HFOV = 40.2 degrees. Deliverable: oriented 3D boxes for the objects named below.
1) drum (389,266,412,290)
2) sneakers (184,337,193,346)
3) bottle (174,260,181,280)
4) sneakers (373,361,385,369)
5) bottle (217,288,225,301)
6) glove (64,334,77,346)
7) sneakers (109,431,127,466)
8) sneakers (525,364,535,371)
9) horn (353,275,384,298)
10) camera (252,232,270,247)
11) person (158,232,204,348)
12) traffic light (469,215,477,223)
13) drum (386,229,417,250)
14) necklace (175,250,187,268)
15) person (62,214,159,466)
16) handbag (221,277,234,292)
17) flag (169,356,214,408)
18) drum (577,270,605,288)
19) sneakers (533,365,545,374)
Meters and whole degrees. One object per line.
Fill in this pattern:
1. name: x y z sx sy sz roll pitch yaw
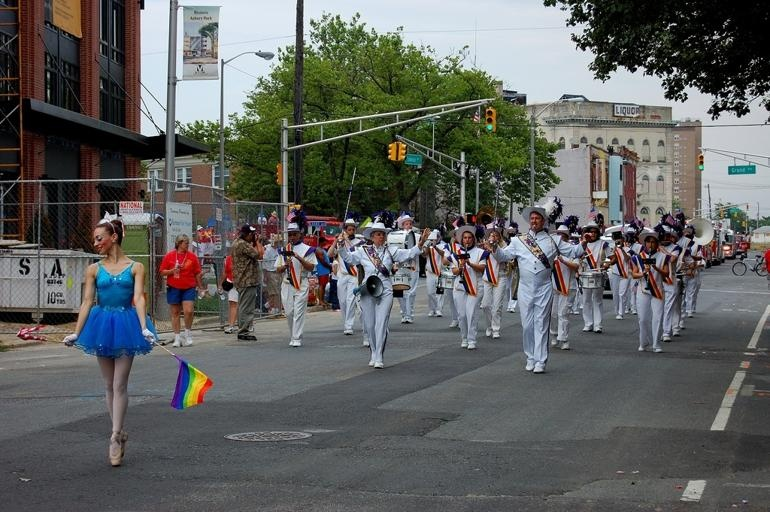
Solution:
1. drum: 0.413 0.461 22.015 0.508 0.453 0.523 1 -9 0
2. sneakers: -4.236 1.917 23.689 0.219 0.143 0.388 -1 -2 -7
3. bottle: -4.364 0.299 23.055 0.130 0.379 0.169 0 1 -17
4. sneakers: -0.043 2.126 20.613 0.173 0.188 0.486 1 1 5
5. bottle: -3.918 0.981 26.611 0.098 0.258 0.203 -6 12 -9
6. glove: -4.320 1.218 15.016 0.207 0.103 0.259 -2 4 -10
7. sneakers: -3.615 2.677 14.752 0.196 0.502 0.207 0 -4 -1
8. sneakers: 2.810 2.140 20.221 0.128 0.109 0.281 0 -7 5
9. horn: -0.191 0.633 20.980 0.589 0.354 0.370 -8 36 44
10. camera: -3.101 -0.416 28.094 0.335 0.407 0.152 6 8 33
11. person: -4.381 0.762 23.642 0.849 2.457 1.331 0 1 -10
12. traffic light: 3.750 -1.562 44.227 0.425 0.407 0.398 0 0 5
13. drum: 0.586 -0.489 27.810 0.578 0.622 0.689 -4 45 15
14. necklace: -4.280 0.089 23.159 0.207 0.306 0.083 4 -18 -7
15. person: -3.726 1.193 15.053 1.081 3.386 0.846 0 1 6
16. handbag: -3.670 0.687 25.840 0.293 0.207 0.403 38 -2 -8
17. flag: -2.724 1.863 15.543 0.536 0.745 0.242 0 1 -7
18. drum: 5.298 0.594 27.157 0.527 0.306 0.520 0 -2 0
19. sneakers: 2.955 2.132 20.078 0.212 0.163 0.196 0 2 3
